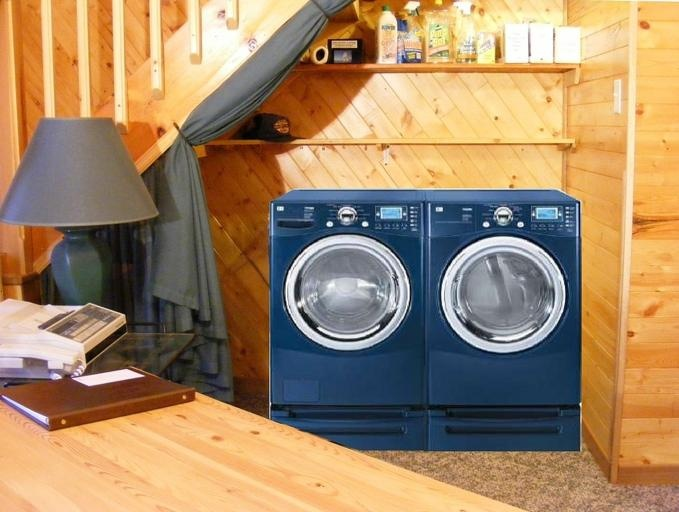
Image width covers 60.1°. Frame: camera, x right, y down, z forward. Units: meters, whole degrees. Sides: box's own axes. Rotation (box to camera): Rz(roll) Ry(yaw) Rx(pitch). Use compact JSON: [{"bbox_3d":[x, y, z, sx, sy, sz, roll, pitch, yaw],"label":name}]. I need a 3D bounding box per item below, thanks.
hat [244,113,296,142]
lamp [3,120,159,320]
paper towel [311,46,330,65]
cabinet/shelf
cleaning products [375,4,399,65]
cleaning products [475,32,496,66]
[{"bbox_3d":[-0.457,-0.796,3.774,0.273,0.106,0.193,-2,12,3],"label":"hat"},{"bbox_3d":[-1.158,-0.155,2.629,0.653,0.865,0.299,-5,16,-18],"label":"lamp"},{"bbox_3d":[-0.120,-1.177,3.560,0.109,0.102,0.062,6,16,22],"label":"paper towel"},{"bbox_3d":[0.518,-0.956,3.853,1.859,0.423,0.331,3,15,11],"label":"cabinet/shelf"},{"bbox_3d":[0.299,-1.316,3.587,0.116,0.326,0.074,7,17,24],"label":"cleaning products"},{"bbox_3d":[0.888,-1.234,3.576,0.114,0.175,0.054,5,16,16],"label":"cleaning products"}]
